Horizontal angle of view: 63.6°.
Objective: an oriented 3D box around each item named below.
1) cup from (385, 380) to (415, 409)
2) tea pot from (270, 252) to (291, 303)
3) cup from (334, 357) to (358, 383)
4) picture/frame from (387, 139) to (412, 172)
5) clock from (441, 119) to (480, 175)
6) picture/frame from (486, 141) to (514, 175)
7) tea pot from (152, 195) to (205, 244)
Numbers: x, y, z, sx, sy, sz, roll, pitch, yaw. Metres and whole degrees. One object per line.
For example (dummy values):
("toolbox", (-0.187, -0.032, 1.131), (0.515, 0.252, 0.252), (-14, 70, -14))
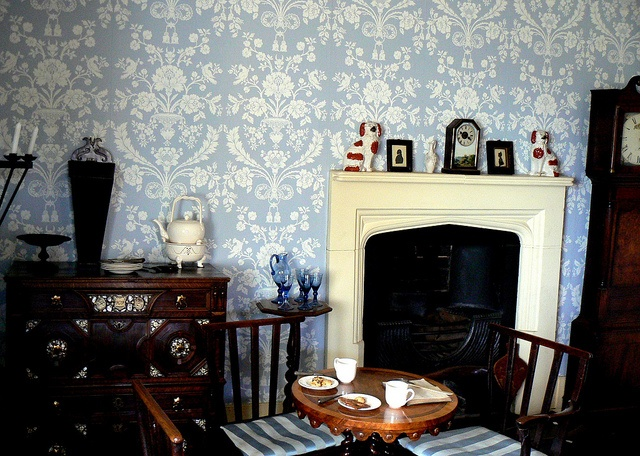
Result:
("cup", (0.355, 0.773, 2.395), (0.145, 0.105, 0.092), (1, -3, -1))
("tea pot", (-0.259, 0.323, 3.272), (0.104, 0.314, 0.189), (2, -2, -38))
("cup", (0.116, 0.710, 2.599), (0.105, 0.090, 0.126), (1, -3, -28))
("picture/frame", (0.530, -0.495, 3.521), (0.242, 0.264, 0.027), (-1, 2, -12))
("clock", (0.998, -0.564, 3.615), (0.256, 0.380, 0.102), (2, -1, -14))
("picture/frame", (1.276, -0.502, 3.690), (0.257, 0.278, 0.023), (-1, 1, -17))
("tea pot", (-0.829, -0.037, 3.131), (0.359, 0.305, 0.237), (-1, 5, -7))
